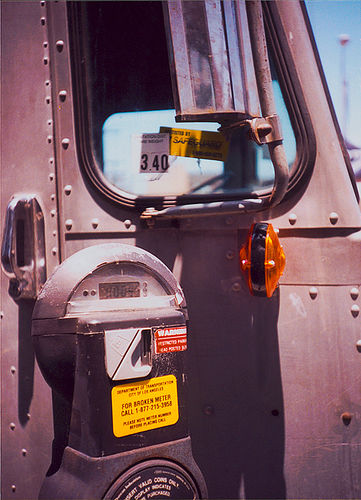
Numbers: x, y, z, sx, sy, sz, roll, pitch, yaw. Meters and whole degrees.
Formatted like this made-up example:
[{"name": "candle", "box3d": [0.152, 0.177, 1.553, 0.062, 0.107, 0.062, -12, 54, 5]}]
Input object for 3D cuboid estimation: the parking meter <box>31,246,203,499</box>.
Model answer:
[{"name": "parking meter", "box3d": [-0.212, 0.430, 2.145, 0.535, 0.750, 0.438, -7, 22, -16]}]
